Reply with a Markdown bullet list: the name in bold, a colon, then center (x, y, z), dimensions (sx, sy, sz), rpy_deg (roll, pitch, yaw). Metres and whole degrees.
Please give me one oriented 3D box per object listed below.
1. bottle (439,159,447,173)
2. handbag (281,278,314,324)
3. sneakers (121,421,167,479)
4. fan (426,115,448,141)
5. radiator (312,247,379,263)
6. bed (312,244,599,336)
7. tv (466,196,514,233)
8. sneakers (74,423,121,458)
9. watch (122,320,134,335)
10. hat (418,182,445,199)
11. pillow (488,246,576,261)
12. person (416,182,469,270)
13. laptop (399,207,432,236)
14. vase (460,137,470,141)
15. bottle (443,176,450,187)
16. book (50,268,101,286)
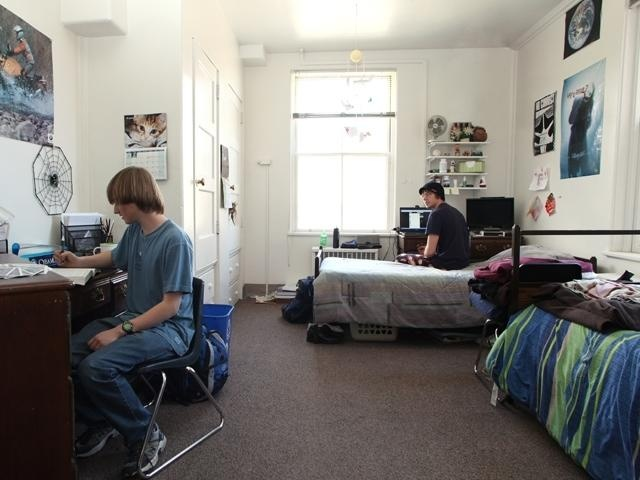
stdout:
- **bottle**: center (1.437, -0.861, 5.423), dimensions (0.095, 0.156, 0.169), rpy_deg (4, 15, 15)
- **handbag**: center (-0.215, 0.601, 4.552), dimensions (0.300, 0.410, 0.314), rpy_deg (-1, 14, -5)
- **sneakers**: center (-0.914, 1.142, 2.493), dimensions (0.110, 0.165, 0.340), rpy_deg (1, -4, -1)
- **fan**: center (1.380, -1.335, 5.463), dimensions (0.267, 0.360, 0.130), rpy_deg (4, 5, 4)
- **radiator**: center (0.360, 0.172, 5.391), dimensions (0.478, 0.186, 0.461), rpy_deg (-1, -6, 3)
- **bed**: center (0.731, 0.450, 3.954), dimensions (1.507, 0.655, 0.966), rpy_deg (-1, 5, -3)
- **tv**: center (1.928, -0.285, 5.264), dimensions (0.414, 0.324, 0.111), rpy_deg (1, 0, 14)
- **sneakers**: center (-1.223, 1.118, 2.608), dimensions (0.102, 0.138, 0.287), rpy_deg (2, -10, 2)
- **watch**: center (-0.997, 0.461, 2.444), dimensions (0.049, 0.083, 0.071), rpy_deg (0, -22, -23)
- **hat**: center (1.085, -0.496, 4.528), dimensions (0.202, 0.114, 0.156), rpy_deg (19, -6, 0)
- **pillow**: center (1.719, 0.104, 3.739), dimensions (0.393, 0.107, 0.382), rpy_deg (-2, 2, -7)
- **person**: center (1.175, -0.144, 4.583), dimensions (0.504, 0.871, 0.521), rpy_deg (-3, 2, 40)
- **laptop**: center (1.110, -0.235, 5.400), dimensions (0.463, 0.366, 0.266), rpy_deg (1, 3, 6)
- **vase**: center (1.671, -1.162, 5.383), dimensions (0.105, 0.043, 0.060), rpy_deg (4, 15, 14)
- **bottle**: center (1.482, -0.683, 5.444), dimensions (0.066, 0.127, 0.039), rpy_deg (1, -9, 1)
- **book**: center (-1.295, 0.182, 2.464), dimensions (0.156, 0.043, 0.176), rpy_deg (5, 9, -7)
